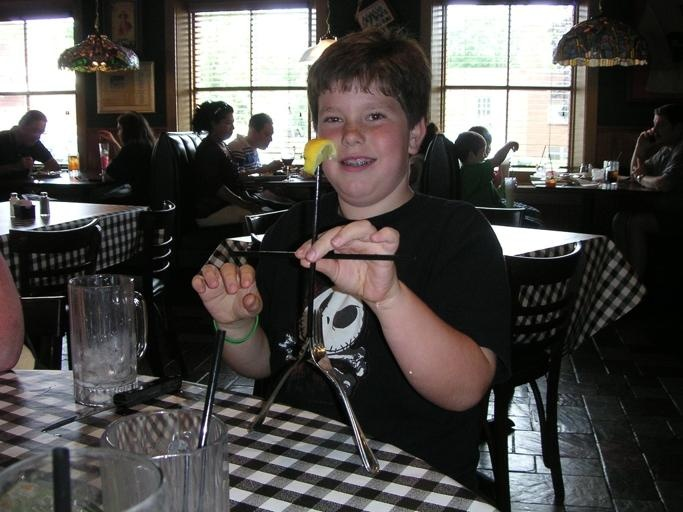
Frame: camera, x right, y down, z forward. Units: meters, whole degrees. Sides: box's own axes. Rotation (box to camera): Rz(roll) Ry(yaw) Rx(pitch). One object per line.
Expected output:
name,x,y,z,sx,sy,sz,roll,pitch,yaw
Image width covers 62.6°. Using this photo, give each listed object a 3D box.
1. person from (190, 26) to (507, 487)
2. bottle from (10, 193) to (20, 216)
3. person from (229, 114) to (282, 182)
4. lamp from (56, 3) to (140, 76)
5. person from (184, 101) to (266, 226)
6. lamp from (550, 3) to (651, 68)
person,0.029,0.076,1.199,0.529,1.035,0.641,-1,1,-44
bottle,-1.571,-0.247,2.702,0.040,0.102,0.294,-7,15,-30
person,-0.866,-1.069,5.553,0.651,0.758,0.662,-1,25,-9
lamp,-1.978,-1.704,4.556,0.600,0.383,0.453,-5,14,-24
person,-0.836,-0.723,4.474,0.649,0.992,0.596,0,6,-30
lamp,2.114,-1.776,4.563,0.678,0.423,0.469,-5,14,-25
